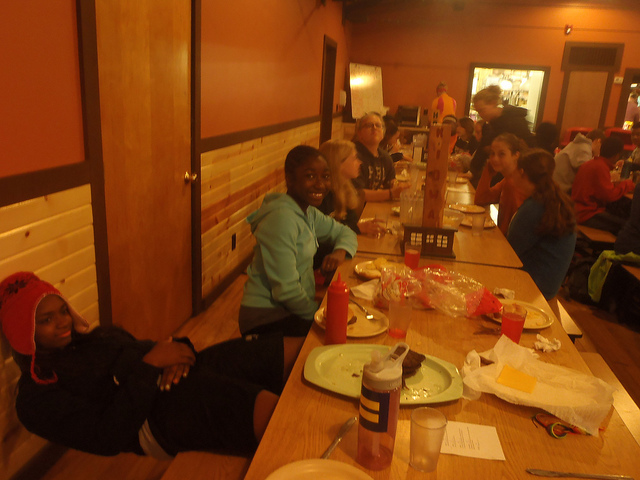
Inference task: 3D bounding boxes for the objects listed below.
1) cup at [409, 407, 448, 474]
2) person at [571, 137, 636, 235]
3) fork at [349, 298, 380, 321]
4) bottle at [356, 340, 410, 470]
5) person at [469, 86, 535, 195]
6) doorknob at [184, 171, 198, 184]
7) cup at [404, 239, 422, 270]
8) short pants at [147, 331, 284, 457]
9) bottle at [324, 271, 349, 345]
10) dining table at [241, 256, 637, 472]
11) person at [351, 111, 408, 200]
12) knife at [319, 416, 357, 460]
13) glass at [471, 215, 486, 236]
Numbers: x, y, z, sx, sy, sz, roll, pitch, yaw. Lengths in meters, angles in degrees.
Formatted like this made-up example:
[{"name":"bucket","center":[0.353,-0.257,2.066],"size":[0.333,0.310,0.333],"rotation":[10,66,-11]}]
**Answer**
[{"name":"cup","center":[0.305,0.577,1.346],"size":[0.100,0.174,0.110],"rotation":[4,15,-1]},{"name":"person","center":[3.113,-0.601,5.230],"size":[0.564,0.840,0.696],"rotation":[16,26,32]},{"name":"fork","center":[0.190,0.309,2.091],"size":[0.034,0.038,0.254],"rotation":[-7,25,-20]},{"name":"bottle","center":[0.166,0.469,1.329],"size":[0.111,0.342,0.116],"rotation":[1,21,-1]},{"name":"person","center":[2.236,-1.111,5.999],"size":[0.808,1.514,0.615],"rotation":[7,30,29]},{"name":"doorknob","center":[-0.927,-0.449,3.427],"size":[0.039,0.110,0.153],"rotation":[7,23,13]},{"name":"cup","center":[0.492,0.083,2.509],"size":[0.104,0.190,0.113],"rotation":[1,19,0]},{"name":"short pants","center":[-0.418,0.598,1.943],"size":[0.414,0.405,0.416],"rotation":[4,16,-15]},{"name":"bottle","center":[0.061,0.280,1.818],"size":[0.080,0.334,0.082],"rotation":[1,32,-1]},{"name":"dining table","center":[0.448,0.283,1.795],"size":[1.152,0.344,1.327],"rotation":[5,23,5]},{"name":"person","center":[0.520,-0.787,4.632],"size":[0.646,0.905,0.552],"rotation":[2,11,31]},{"name":"knife","center":[0.062,0.591,1.419],"size":[0.034,0.023,0.311],"rotation":[35,18,10]},{"name":"glass","center":[1.054,-0.103,3.241],"size":[0.105,0.152,0.115],"rotation":[2,11,-9]}]
